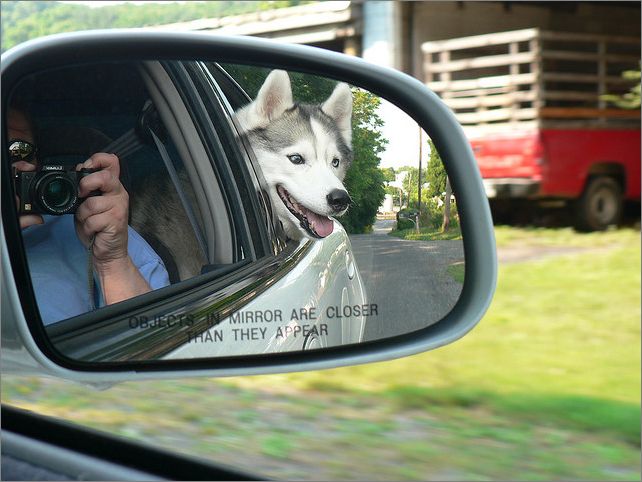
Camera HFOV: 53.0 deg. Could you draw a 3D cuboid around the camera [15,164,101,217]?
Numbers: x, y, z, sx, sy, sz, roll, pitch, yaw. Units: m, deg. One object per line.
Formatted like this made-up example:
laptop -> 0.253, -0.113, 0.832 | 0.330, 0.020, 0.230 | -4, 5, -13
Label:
camera -> -0.688, -0.127, 1.646 | 0.111, 0.108, 0.212 | 0, 1, 27
